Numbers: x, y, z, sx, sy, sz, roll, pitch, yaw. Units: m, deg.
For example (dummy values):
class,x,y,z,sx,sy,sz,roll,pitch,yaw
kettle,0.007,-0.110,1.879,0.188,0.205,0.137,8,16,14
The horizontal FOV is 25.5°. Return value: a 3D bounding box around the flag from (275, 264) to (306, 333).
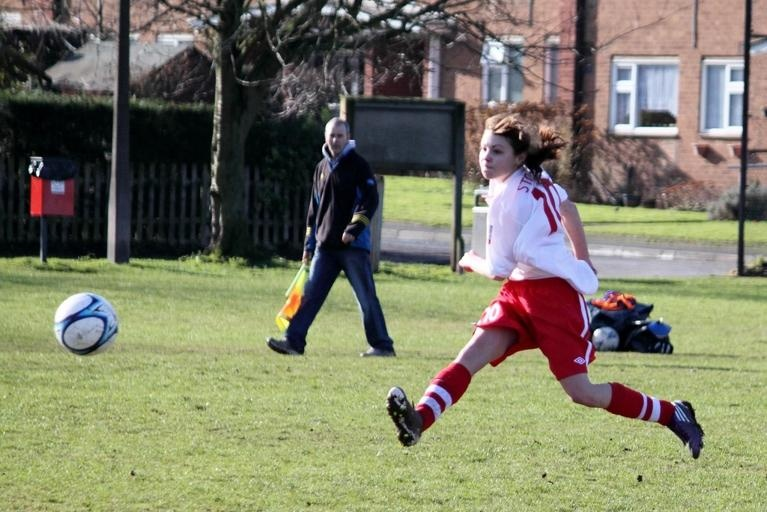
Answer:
class,x,y,z,sx,sy,sz,roll,pitch,yaw
flag,-1.554,0.777,29.169,0.448,1.247,0.450,3,-1,-25
